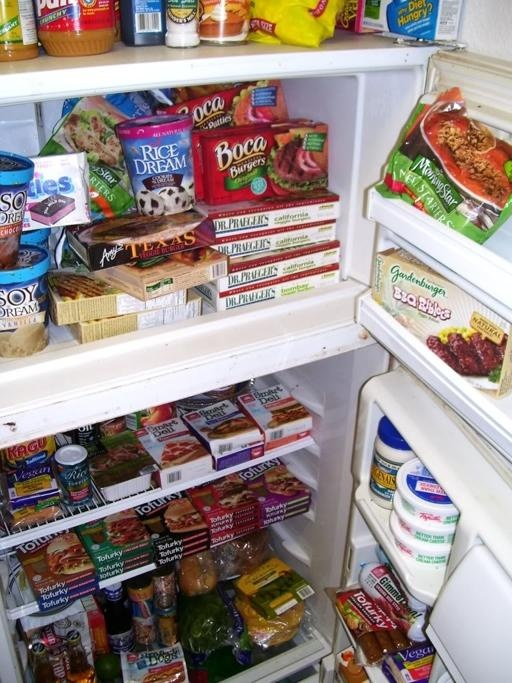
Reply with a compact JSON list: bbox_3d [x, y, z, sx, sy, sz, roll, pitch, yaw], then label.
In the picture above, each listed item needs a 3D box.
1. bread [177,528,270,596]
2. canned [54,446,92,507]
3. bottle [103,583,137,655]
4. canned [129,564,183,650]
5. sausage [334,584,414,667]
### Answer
[{"bbox_3d":[-0.095,0.664,1.650,0.248,0.079,0.126,-25,14,-17],"label":"bread"},{"bbox_3d":[-0.392,0.284,1.164,0.072,0.117,0.083,-17,36,-23],"label":"canned"},{"bbox_3d":[-0.381,0.773,1.498,0.073,0.190,0.094,-11,33,-14],"label":"bottle"},{"bbox_3d":[-0.284,0.746,1.494,0.140,0.271,0.083,-7,33,-9],"label":"canned"},{"bbox_3d":[0.242,0.601,1.156,0.113,0.038,0.147,-19,35,-10],"label":"sausage"}]
